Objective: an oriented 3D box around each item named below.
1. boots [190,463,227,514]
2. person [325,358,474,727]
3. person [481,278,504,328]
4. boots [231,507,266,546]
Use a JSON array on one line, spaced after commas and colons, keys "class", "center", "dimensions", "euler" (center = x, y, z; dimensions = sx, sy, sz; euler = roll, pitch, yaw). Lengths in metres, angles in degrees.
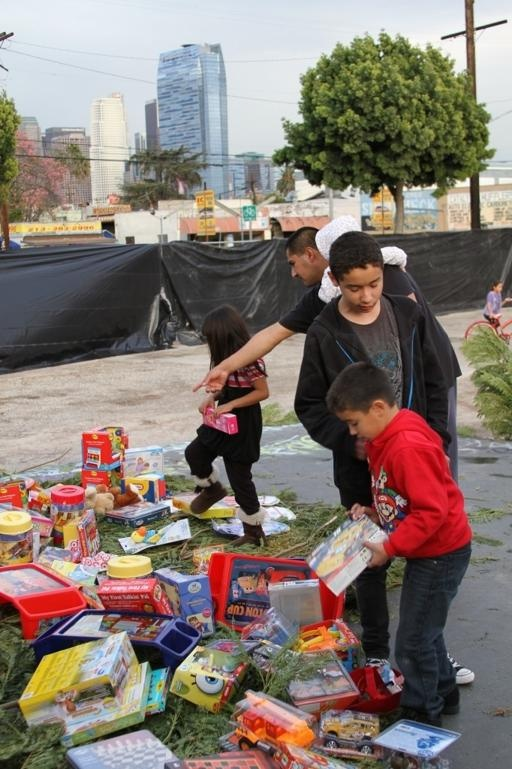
[{"class": "boots", "center": [-0.296, 0.652, 3.770], "dimensions": [0.267, 0.270, 0.117], "euler": [28, 21, -50]}, {"class": "person", "center": [0.428, 0.515, 1.832], "dimensions": [0.383, 1.153, 0.364], "euler": [-1, 7, 18]}, {"class": "person", "center": [4.853, -1.602, 12.727], "dimensions": [0.304, 0.971, 1.686], "euler": [-1, 6, 21]}, {"class": "boots", "center": [-0.014, 0.792, 3.411], "dimensions": [0.219, 0.231, 0.145], "euler": [1, 3, 2]}]
